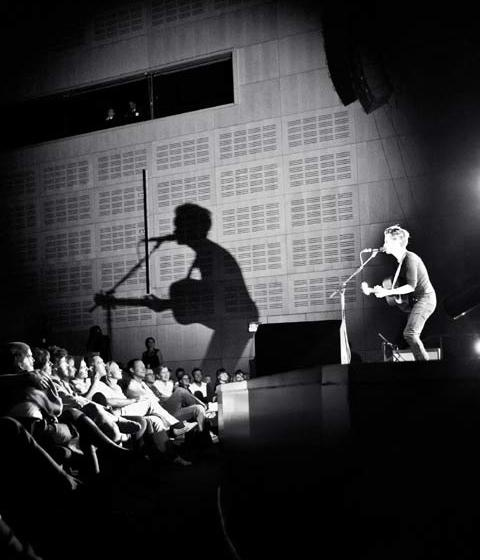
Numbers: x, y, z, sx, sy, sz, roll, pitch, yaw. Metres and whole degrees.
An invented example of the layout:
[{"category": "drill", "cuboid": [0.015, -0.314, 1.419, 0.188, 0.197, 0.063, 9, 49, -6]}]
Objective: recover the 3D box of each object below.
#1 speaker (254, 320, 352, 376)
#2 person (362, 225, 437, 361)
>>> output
[{"category": "speaker", "cuboid": [0.231, 0.254, 2.617, 0.373, 0.217, 0.183, -14, 0, 26]}, {"category": "person", "cuboid": [1.284, 0.130, 5.267, 0.631, 1.483, 0.456, -2, -30, 12]}]
